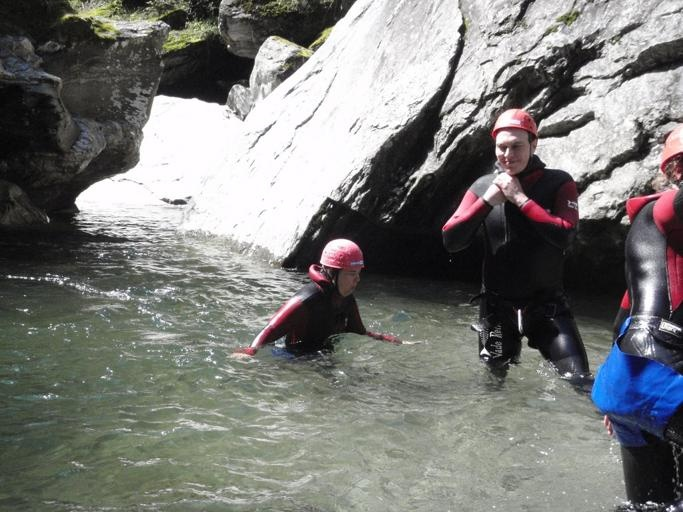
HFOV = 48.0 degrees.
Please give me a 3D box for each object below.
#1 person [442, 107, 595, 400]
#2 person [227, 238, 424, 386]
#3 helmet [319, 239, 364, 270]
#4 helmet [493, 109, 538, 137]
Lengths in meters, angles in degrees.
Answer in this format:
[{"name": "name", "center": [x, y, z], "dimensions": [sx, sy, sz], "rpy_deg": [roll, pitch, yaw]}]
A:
[{"name": "person", "center": [1.564, -0.084, 6.419], "dimensions": [1.291, 2.231, 0.618], "rpy_deg": [13, 15, 29]}, {"name": "person", "center": [-0.219, 0.605, 8.237], "dimensions": [0.667, 1.304, 1.273], "rpy_deg": [28, 29, 34]}, {"name": "helmet", "center": [0.002, -0.019, 7.164], "dimensions": [0.359, 0.191, 0.290], "rpy_deg": [6, 6, 9]}, {"name": "helmet", "center": [1.464, -1.110, 6.451], "dimensions": [0.350, 0.249, 0.256], "rpy_deg": [7, 12, 10]}]
